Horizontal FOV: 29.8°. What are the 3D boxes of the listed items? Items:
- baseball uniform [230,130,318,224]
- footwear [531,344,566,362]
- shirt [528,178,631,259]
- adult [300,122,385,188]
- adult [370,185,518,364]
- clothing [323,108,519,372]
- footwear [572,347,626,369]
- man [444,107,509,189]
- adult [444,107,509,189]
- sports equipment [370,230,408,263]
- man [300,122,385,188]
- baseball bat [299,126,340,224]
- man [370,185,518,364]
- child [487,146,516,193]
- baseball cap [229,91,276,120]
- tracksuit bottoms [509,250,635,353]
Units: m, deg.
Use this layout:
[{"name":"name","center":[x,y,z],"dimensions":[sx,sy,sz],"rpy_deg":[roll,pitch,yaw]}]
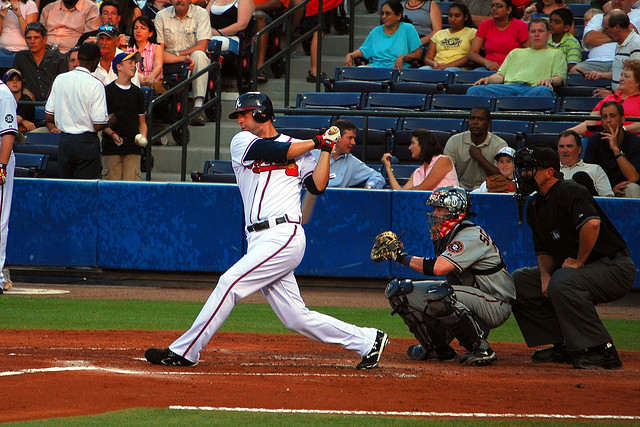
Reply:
[{"name":"baseball uniform","center":[-0.524,-0.410,14.158],"dimensions":[1.224,1.377,0.807],"rpy_deg":[0,-16,5]},{"name":"footwear","center":[2.791,1.728,14.689],"dimensions":[0.447,0.198,0.182],"rpy_deg":[7,-3,0]},{"name":"shirt","center":[3.201,0.093,14.883],"dimensions":[0.579,0.663,0.798],"rpy_deg":[-27,-12,-36]},{"name":"adult","center":[0.329,-0.761,16.524],"dimensions":[0.946,0.819,0.504],"rpy_deg":[12,12,-38]},{"name":"adult","center":[1.449,0.794,14.498],"dimensions":[1.795,2.033,1.488],"rpy_deg":[-1,-4,6]},{"name":"clothing","center":[1.629,0.751,14.339],"dimensions":[2.190,2.518,1.720],"rpy_deg":[2,-13,-2]},{"name":"footwear","center":[3.308,1.710,14.330],"dimensions":[0.569,0.317,0.152],"rpy_deg":[3,3,12]},{"name":"man","center":[2.270,-0.874,17.641],"dimensions":[1.026,1.331,0.978],"rpy_deg":[5,6,20]},{"name":"adult","center":[2.256,-0.877,17.649],"dimensions":[1.094,1.336,0.971],"rpy_deg":[4,6,7]},{"name":"sports equipment","center":[0.810,0.399,14.416],"dimensions":[0.417,0.197,0.494],"rpy_deg":[8,35,26]},{"name":"man","center":[0.329,-0.761,16.524],"dimensions":[0.946,0.819,0.504],"rpy_deg":[12,12,-38]},{"name":"baseball bat","center":[-0.117,-0.363,14.106],"dimensions":[0.147,1.307,0.171],"rpy_deg":[18,33,0]},{"name":"man","center":[1.498,0.763,14.503],"dimensions":[1.858,2.088,1.459],"rpy_deg":[0,-4,-5]},{"name":"child","center":[2.598,-0.588,17.211],"dimensions":[0.394,0.638,0.333],"rpy_deg":[-1,-26,21]},{"name":"baseball cap","center":[-0.825,-1.270,14.119],"dimensions":[0.617,0.351,0.443],"rpy_deg":[-2,10,-13]},{"name":"tracksuit bottoms","center":[3.055,1.155,14.892],"dimensions":[1.282,1.208,1.249],"rpy_deg":[-13,-7,-12]}]
